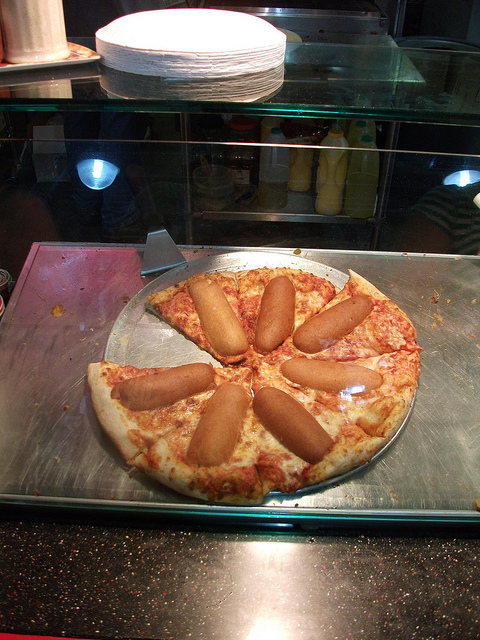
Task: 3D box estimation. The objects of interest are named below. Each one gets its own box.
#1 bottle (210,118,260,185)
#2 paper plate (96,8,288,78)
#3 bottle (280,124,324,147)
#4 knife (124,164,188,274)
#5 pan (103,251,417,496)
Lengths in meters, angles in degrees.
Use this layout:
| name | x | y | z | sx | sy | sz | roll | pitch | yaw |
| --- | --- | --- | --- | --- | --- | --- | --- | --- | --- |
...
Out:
| name | x | y | z | sx | sy | sz | roll | pitch | yaw |
| --- | --- | --- | --- | --- | --- | --- | --- | --- | --- |
| bottle | -0.006 | -0.273 | 0.762 | 0.075 | 0.082 | 0.089 | 1 | 43 | 2 |
| paper plate | -0.052 | -0.328 | 0.555 | 0.222 | 0.040 | 0.214 | 23 | 46 | 24 |
| bottle | 0.098 | -0.277 | 0.715 | 0.069 | 0.025 | 0.076 | -1 | 42 | -1 |
| knife | -0.136 | -0.166 | 0.771 | 0.079 | 0.169 | 0.067 | -7 | 44 | -6 |
| pan | 0.025 | 0.074 | 0.610 | 0.383 | 0.072 | 0.354 | 0 | 40 | 0 |
